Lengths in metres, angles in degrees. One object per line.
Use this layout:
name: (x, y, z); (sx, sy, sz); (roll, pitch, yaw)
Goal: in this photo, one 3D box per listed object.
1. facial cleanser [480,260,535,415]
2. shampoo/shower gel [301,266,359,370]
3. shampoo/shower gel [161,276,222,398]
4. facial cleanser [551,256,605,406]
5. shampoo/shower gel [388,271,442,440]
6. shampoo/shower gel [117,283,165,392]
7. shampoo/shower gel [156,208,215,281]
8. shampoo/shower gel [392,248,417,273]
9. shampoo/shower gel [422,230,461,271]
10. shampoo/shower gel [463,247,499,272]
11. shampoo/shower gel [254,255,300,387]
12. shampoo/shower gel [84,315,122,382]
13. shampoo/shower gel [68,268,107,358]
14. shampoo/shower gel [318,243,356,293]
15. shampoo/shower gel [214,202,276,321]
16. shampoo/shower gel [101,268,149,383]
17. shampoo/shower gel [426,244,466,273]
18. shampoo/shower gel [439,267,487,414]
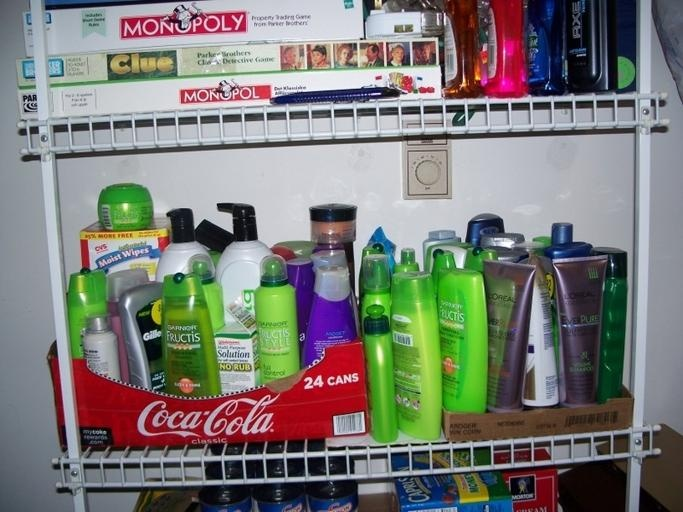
facial cleanser: (0.267, 0.127, 0.972); (0.080, 0.239, 0.047); (-2, 7, 17)
shampoo/shower gel: (-0.019, 0.095, 0.990); (0.074, 0.188, 0.067); (0, 9, -12)
shampoo/shower gel: (-0.243, 0.123, 0.966); (0.084, 0.196, 0.030); (-4, 7, 5)
facial cleanser: (0.386, 0.120, 0.982); (0.082, 0.237, 0.026); (-6, 7, -12)
shampoo/shower gel: (0.121, 0.161, 1.024); (0.084, 0.264, 0.082); (-2, 8, -1)
shampoo/shower gel: (-0.317, 0.133, 0.992); (0.070, 0.172, 0.037); (-7, 8, -20)
shampoo/shower gel: (-0.273, -0.024, 1.035); (0.108, 0.165, 0.105); (-3, 4, -42)
shampoo/shower gel: (0.108, 0.008, 1.049); (0.037, 0.043, 0.038); (0, -2, 3)
shampoo/shower gel: (0.179, -0.010, 1.097); (0.068, 0.095, 0.033); (1, 17, 5)
shampoo/shower gel: (0.228, 0.002, 1.017); (0.042, 0.030, 0.042); (0, 5, -22)
shampoo/shower gel: (-0.105, 0.104, 0.979); (0.068, 0.198, 0.032); (-6, 7, -10)
shampoo/shower gel: (-0.382, 0.145, 0.974); (0.051, 0.106, 0.061); (-6, 8, -13)
shampoo/shower gel: (-0.410, 0.083, 1.010); (0.050, 0.163, 0.057); (-1, 10, -13)
shampoo/shower gel: (-0.017, 0.025, 1.080); (0.094, 0.100, 0.055); (-4, 7, -21)
shampoo/shower gel: (-0.168, 0.007, 1.030); (0.072, 0.212, 0.080); (-1, 10, -7)
shampoo/shower gel: (-0.352, 0.109, 1.007); (0.054, 0.187, 0.058); (0, 8, -3)
shampoo/shower gel: (0.187, 0.002, 1.081); (0.061, 0.062, 0.037); (6, 8, 24)
shampoo/shower gel: (0.194, 0.141, 1.003); (0.068, 0.229, 0.067); (-6, 15, -6)
